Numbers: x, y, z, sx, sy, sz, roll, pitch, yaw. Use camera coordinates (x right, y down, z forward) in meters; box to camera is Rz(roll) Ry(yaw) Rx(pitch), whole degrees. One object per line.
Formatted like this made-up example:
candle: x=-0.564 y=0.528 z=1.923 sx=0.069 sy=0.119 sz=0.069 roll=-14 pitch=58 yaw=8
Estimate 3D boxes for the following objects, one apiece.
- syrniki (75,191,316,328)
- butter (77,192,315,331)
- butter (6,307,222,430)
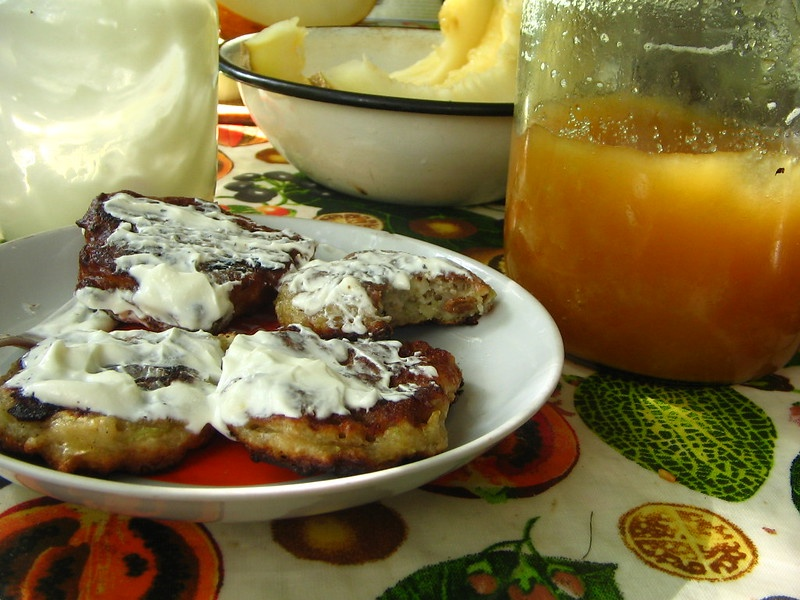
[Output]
syrniki: x=-0.250 y=-0.057 z=0.881 sx=0.265 sy=0.062 sz=0.195 roll=-24 pitch=62 yaw=-35
butter: x=-0.253 y=-0.046 z=0.862 sx=0.280 sy=0.059 sz=0.214 roll=11 pitch=19 yaw=0
butter: x=-0.246 y=0.058 z=0.665 sx=0.141 sy=0.027 sz=0.126 roll=12 pitch=15 yaw=27
